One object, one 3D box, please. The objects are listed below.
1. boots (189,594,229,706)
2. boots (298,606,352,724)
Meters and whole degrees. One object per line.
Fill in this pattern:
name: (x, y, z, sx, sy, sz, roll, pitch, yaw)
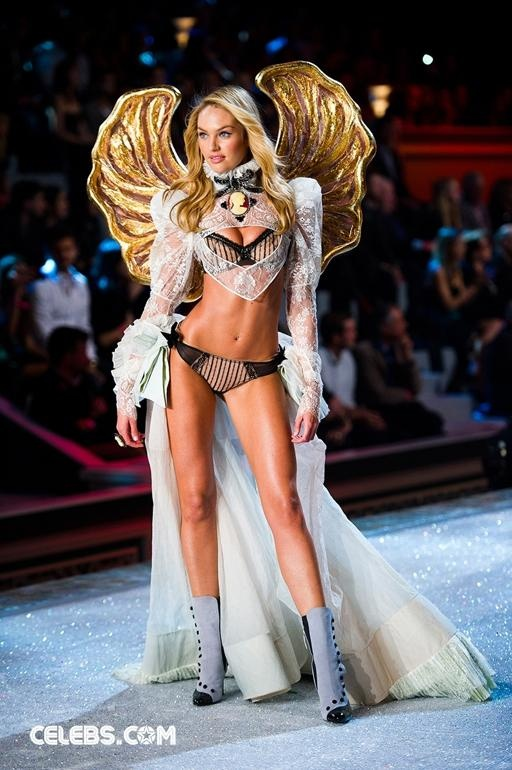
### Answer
boots: (-0.112, 0.622, 1.743, 0.090, 0.223, 0.181, 2, 18, -3)
boots: (0.133, 0.588, 1.602, 0.083, 0.230, 0.111, -11, -12, -3)
